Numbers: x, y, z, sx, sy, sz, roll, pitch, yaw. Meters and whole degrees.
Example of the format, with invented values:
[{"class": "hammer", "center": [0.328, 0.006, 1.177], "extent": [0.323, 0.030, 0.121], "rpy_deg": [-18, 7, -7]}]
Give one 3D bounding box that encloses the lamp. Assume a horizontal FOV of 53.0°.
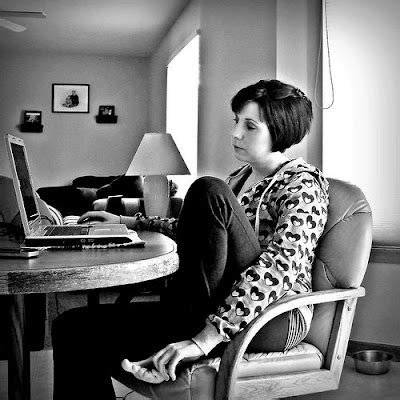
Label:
[{"class": "lamp", "center": [-0.297, -0.080, 2.477], "extent": [0.372, 0.655, 0.394], "rpy_deg": [5, -11, -36]}]
